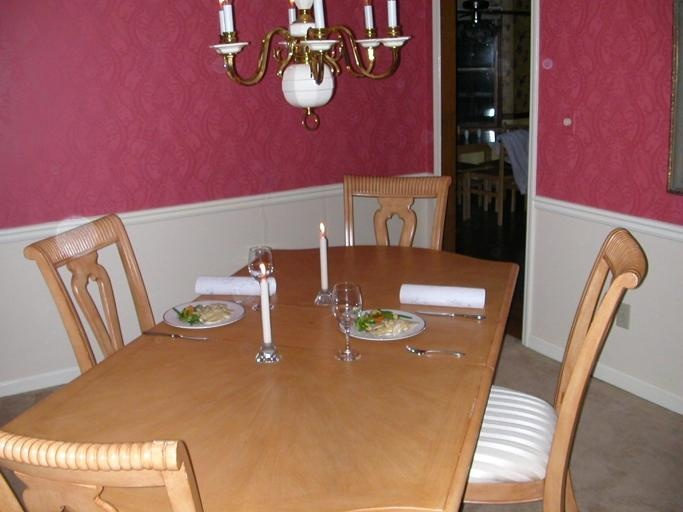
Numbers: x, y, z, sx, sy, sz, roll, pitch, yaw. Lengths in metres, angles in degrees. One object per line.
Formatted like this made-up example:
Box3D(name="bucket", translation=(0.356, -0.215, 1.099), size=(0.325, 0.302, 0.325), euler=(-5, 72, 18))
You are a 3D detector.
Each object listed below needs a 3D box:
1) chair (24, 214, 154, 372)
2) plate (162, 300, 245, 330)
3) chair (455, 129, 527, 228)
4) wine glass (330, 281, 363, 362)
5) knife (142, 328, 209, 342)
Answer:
Box3D(name="chair", translation=(-0.922, 0.135, 2.030), size=(0.302, 0.440, 0.642), euler=(-1, 18, 0))
Box3D(name="plate", translation=(-0.485, 0.205, 1.933), size=(0.279, 0.051, 0.178), euler=(0, 19, 2))
Box3D(name="chair", translation=(1.636, -0.911, 6.055), size=(0.685, 1.014, 1.197), euler=(3, 19, 13))
Box3D(name="wine glass", translation=(0.018, 0.168, 1.707), size=(0.082, 0.232, 0.220), euler=(0, 18, 3))
Box3D(name="knife", translation=(-0.551, 0.265, 1.839), size=(0.139, 0.007, 0.028), euler=(8, 64, 7))
